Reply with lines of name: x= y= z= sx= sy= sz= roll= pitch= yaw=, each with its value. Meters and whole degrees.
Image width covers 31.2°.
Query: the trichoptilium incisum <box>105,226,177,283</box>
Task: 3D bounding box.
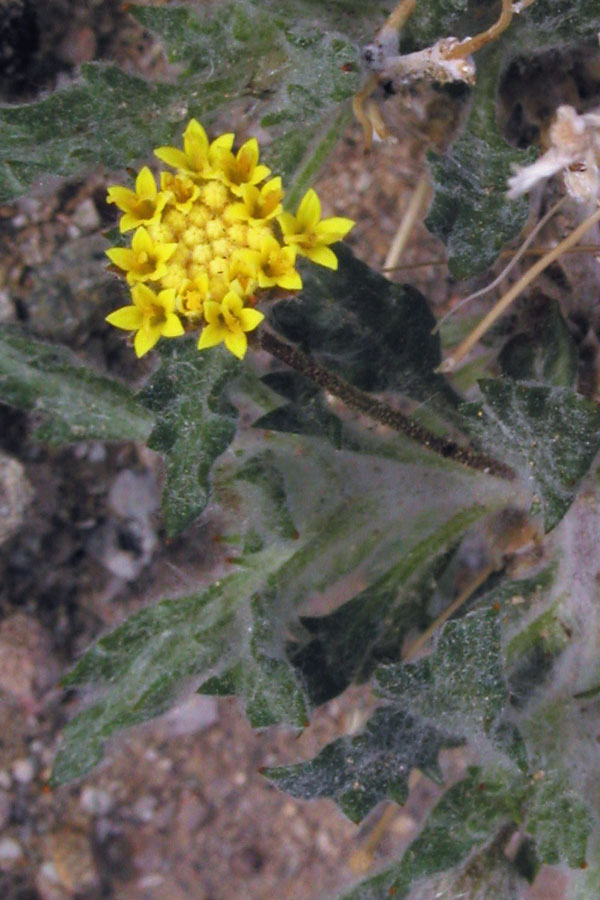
trichoptilium incisum: x=-0.235 y=-0.286 z=1.685 sx=0.090 sy=0.046 sz=0.096 roll=38 pitch=95 yaw=23

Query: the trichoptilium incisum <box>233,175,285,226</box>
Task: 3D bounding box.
trichoptilium incisum: x=-0.062 y=-0.378 z=1.665 sx=0.083 sy=0.044 sz=0.070 roll=-15 pitch=75 yaw=8

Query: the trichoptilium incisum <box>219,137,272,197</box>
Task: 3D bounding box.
trichoptilium incisum: x=-0.088 y=-0.436 z=1.681 sx=0.091 sy=0.081 sz=0.085 roll=5 pitch=84 yaw=-7

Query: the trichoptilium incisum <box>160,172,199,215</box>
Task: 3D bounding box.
trichoptilium incisum: x=-0.189 y=-0.396 z=1.669 sx=0.065 sy=0.042 sz=0.054 roll=18 pitch=47 yaw=-9

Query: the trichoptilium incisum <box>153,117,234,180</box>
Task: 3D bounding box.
trichoptilium incisum: x=-0.155 y=-0.461 z=1.686 sx=0.109 sy=0.079 sz=0.087 roll=32 pitch=47 yaw=5

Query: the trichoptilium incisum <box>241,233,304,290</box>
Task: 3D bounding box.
trichoptilium incisum: x=-0.045 y=-0.281 z=1.653 sx=0.078 sy=0.052 sz=0.078 roll=-1 pitch=52 yaw=-24

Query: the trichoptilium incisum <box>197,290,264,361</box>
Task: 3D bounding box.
trichoptilium incisum: x=-0.108 y=-0.192 z=1.637 sx=0.084 sy=0.074 sz=0.080 roll=10 pitch=49 yaw=-16
